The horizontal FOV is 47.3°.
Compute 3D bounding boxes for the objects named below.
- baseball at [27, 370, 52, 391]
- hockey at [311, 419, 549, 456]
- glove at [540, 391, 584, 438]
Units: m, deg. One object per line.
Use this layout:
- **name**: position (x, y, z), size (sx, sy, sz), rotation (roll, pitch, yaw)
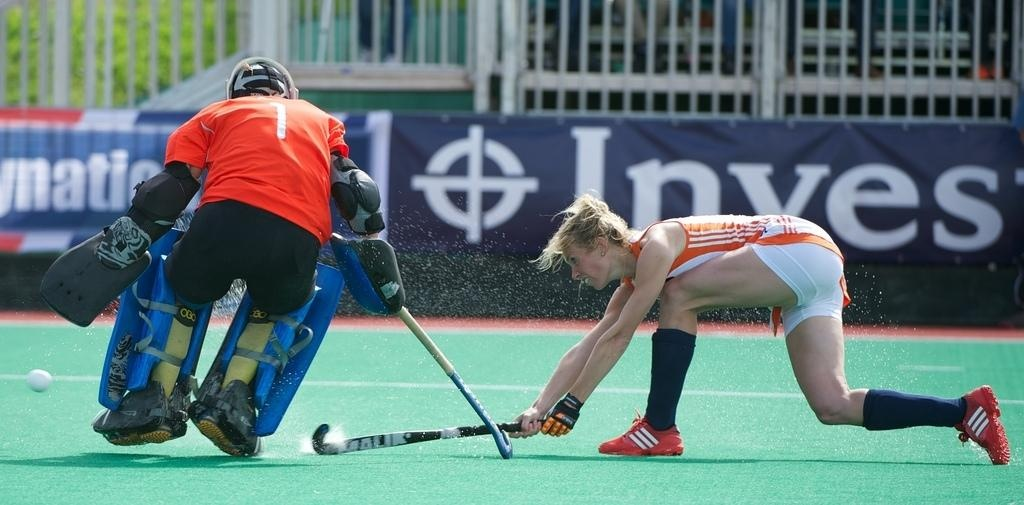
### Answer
- **baseball**: position (-4.280, 1.164, 10.618), size (0.189, 0.182, 0.065), rotation (23, 18, -9)
- **hockey**: position (-0.840, 1.634, 10.191), size (1.837, 0.351, 0.290), rotation (-3, -4, 9)
- **glove**: position (0.435, 1.431, 10.373), size (0.348, 0.366, 0.142), rotation (3, 13, 4)
